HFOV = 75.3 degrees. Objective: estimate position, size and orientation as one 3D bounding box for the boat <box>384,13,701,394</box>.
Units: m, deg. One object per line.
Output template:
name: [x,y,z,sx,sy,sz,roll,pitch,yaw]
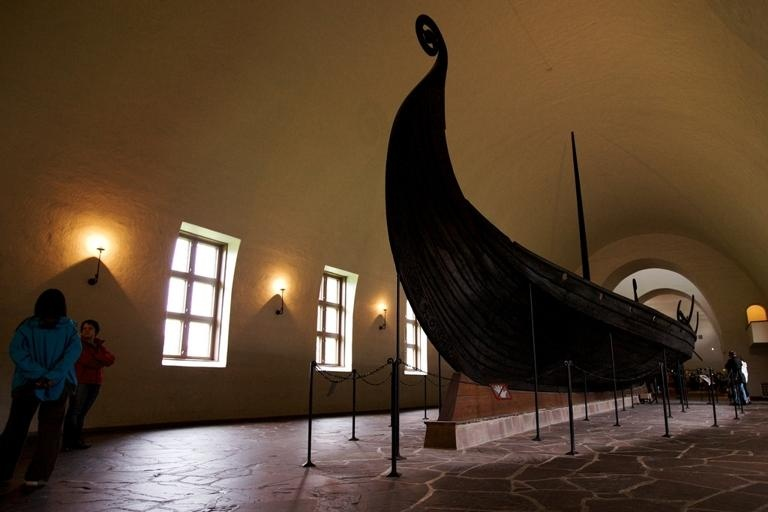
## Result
boat: [2.631,-0.313,10.327,5.963,5.765,2.003,11,-18,-33]
